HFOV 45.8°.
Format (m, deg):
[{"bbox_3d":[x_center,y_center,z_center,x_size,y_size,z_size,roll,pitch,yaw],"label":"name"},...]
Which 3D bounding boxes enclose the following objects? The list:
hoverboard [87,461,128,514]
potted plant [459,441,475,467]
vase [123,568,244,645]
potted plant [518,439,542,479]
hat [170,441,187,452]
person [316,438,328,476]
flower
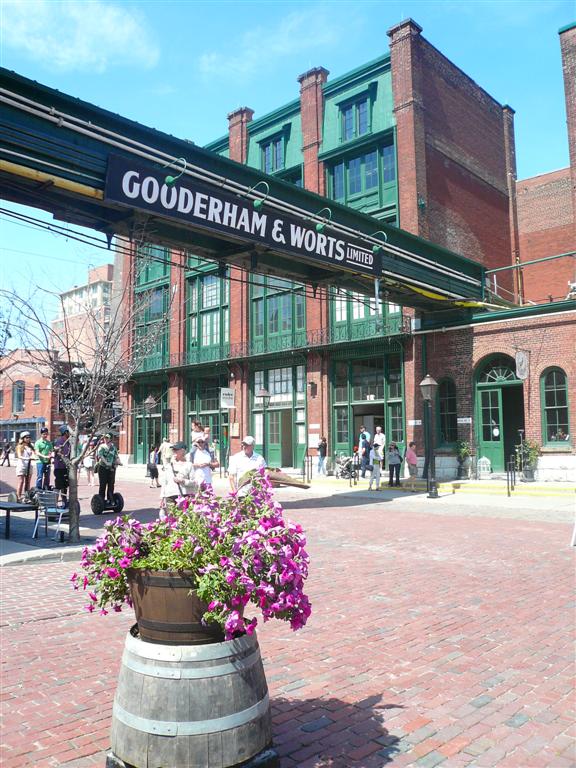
[{"bbox_3d":[-4.156,2.459,15.063,0.410,0.754,0.484,14,-10,-1],"label":"hoverboard"},{"bbox_3d":[5.555,2.187,21.674,0.622,0.776,0.592,7,-12,-34],"label":"potted plant"},{"bbox_3d":[-0.517,0.958,2.944,0.474,0.322,0.180,-2,-4,22],"label":"vase"},{"bbox_3d":[7.012,2.210,19.689,0.609,1.122,0.658,-2,-4,21],"label":"potted plant"},{"bbox_3d":[-1.346,0.777,8.385,0.134,0.089,0.181,-3,-15,26],"label":"hat"},{"bbox_3d":[1.257,2.641,24.976,0.347,1.382,0.781,-1,-4,2],"label":"person"},{"bbox_3d":[-0.423,0.767,3.109,0.847,0.567,0.827,-5,-6,3],"label":"flower"}]
